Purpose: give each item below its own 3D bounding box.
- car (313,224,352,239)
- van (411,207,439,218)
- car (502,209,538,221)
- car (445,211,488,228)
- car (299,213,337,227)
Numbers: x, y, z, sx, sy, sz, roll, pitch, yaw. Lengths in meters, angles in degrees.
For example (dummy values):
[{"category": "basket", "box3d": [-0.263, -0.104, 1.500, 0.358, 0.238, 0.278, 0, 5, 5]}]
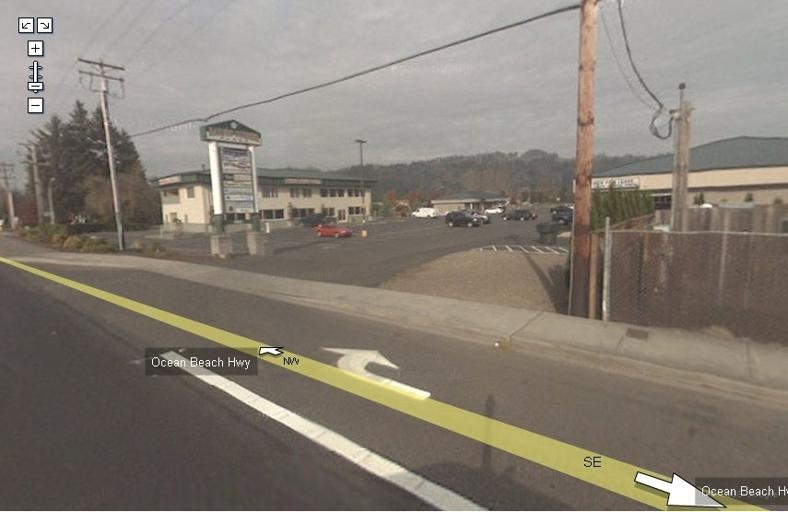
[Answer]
[{"category": "car", "box3d": [-4.659, -1.833, 43.296, 2.217, 0.756, 1.456, 2, 8, 32]}, {"category": "van", "box3d": [4.381, -6.088, 80.812, 3.148, 1.561, 4.907, 0, 3, 17]}, {"category": "car", "box3d": [12.811, -4.222, 59.800, 3.021, 1.060, 2.896, -1, 12, -3]}, {"category": "car", "box3d": [6.091, -3.211, 51.451, 2.800, 1.311, 1.789, -1, 13, 15]}, {"category": "car", "box3d": [-7.270, -3.669, 58.991, 1.991, 1.408, 3.524, 4, 6, 39]}]
